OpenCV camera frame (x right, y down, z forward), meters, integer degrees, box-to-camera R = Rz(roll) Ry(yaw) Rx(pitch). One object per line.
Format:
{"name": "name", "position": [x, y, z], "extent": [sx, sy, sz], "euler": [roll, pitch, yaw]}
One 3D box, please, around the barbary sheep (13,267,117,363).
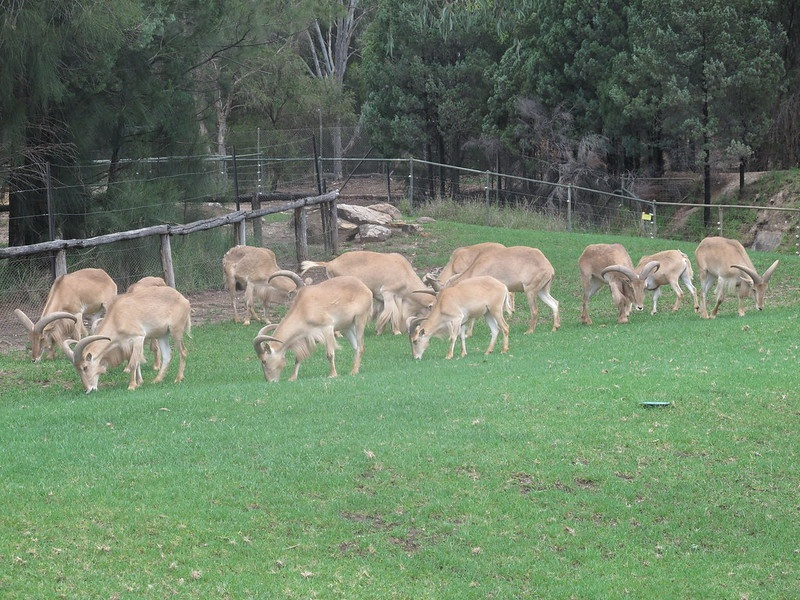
{"name": "barbary sheep", "position": [-6.567, 0.342, 18.714], "extent": [1.276, 1.413, 2.268], "euler": [9, 22, 32]}
